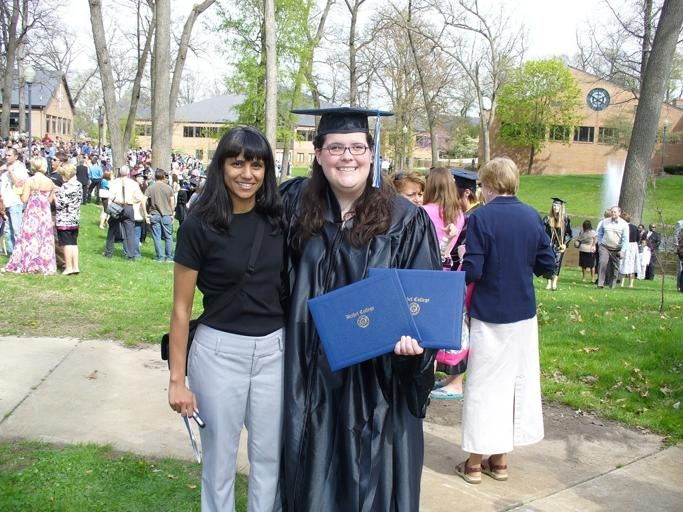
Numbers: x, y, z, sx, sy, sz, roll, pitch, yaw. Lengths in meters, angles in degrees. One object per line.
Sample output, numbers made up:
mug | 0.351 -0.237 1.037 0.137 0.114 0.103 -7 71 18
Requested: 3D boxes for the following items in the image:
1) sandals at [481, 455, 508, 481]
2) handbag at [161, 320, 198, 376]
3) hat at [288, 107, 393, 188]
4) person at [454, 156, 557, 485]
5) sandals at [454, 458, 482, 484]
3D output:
sandals | 1.279 1.761 5.206 0.133 0.141 0.283 0 9 -9
handbag | -1.033 0.573 3.999 0.243 0.339 0.117 2 4 9
hat | 0.005 -0.721 4.231 0.709 0.530 0.748 3 12 24
person | 1.350 0.406 5.103 0.758 2.372 0.526 4 9 10
sandals | 1.048 1.784 5.200 0.118 0.124 0.262 0 4 -10
